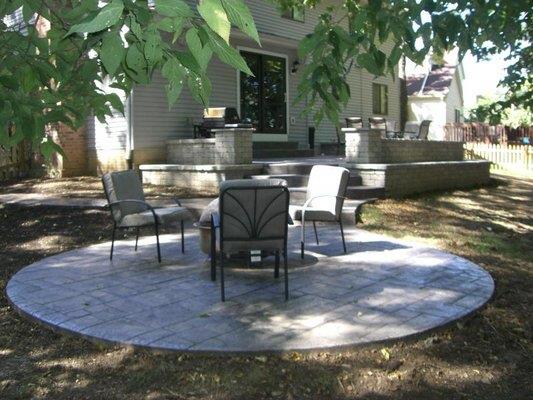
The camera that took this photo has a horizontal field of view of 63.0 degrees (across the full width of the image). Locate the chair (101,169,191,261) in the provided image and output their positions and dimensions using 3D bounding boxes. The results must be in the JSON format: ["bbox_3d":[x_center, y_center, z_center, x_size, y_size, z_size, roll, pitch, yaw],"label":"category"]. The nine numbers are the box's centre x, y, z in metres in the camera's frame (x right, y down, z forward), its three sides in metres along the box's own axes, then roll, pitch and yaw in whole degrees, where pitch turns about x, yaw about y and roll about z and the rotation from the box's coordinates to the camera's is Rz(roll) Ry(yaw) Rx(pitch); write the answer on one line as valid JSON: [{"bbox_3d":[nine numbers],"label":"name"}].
[{"bbox_3d":[-2.020,0.139,7.303,1.429,1.713,1.271,2,5,17],"label":"chair"}]

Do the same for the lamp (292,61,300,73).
[{"bbox_3d":[1.190,-5.461,17.840,0.320,0.512,0.950,0,10,4],"label":"lamp"}]
